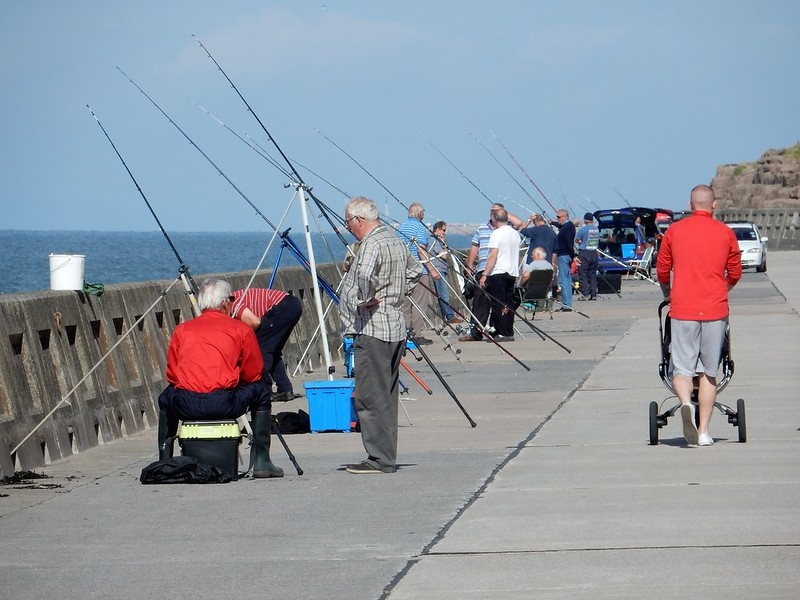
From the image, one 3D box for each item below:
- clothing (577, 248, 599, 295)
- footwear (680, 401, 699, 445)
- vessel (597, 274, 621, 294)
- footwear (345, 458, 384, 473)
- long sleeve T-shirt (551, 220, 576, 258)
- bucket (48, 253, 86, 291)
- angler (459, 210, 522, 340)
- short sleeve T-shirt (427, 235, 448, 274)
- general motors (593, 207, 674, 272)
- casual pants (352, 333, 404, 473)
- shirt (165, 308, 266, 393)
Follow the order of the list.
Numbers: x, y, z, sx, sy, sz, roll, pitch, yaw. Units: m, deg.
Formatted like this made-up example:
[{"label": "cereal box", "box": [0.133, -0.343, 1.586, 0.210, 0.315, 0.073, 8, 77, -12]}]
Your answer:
[{"label": "clothing", "box": [3.579, -0.495, 28.683, 0.480, 0.941, 0.334, -7, 8, -39]}, {"label": "footwear", "box": [2.207, 0.953, 11.485, 0.136, 0.355, 0.151, -14, 7, 2]}, {"label": "vessel", "box": [4.299, -0.301, 30.865, 0.725, 0.353, 0.472, -4, -10, 11]}, {"label": "footwear", "box": [-0.251, 1.241, 11.283, 0.274, 0.095, 0.102, 2, -7, 4]}, {"label": "long sleeve T-shirt", "box": [2.885, -1.051, 26.090, 0.423, 0.655, 0.750, 0, 8, 1]}, {"label": "bucket", "box": [-2.722, -0.235, 12.527, 0.344, 0.277, 0.315, 1, 5, 0]}, {"label": "angler", "box": [1.221, -0.350, 20.309, 0.871, 1.762, 0.723, 0, 2, -28]}, {"label": "short sleeve T-shirt", "box": [0.542, -0.651, 21.507, 0.357, 0.564, 0.553, -7, 9, -7]}, {"label": "general motors", "box": [5.164, -1.336, 34.170, 2.082, 1.386, 2.644, 0, 10, 15]}, {"label": "casual pants", "box": [-0.112, 0.758, 11.334, 0.412, 1.003, 0.312, -5, 4, -15]}, {"label": "shirt", "box": [-1.355, 0.369, 11.060, 0.732, 0.515, 0.375, 2, 3, 1]}]
